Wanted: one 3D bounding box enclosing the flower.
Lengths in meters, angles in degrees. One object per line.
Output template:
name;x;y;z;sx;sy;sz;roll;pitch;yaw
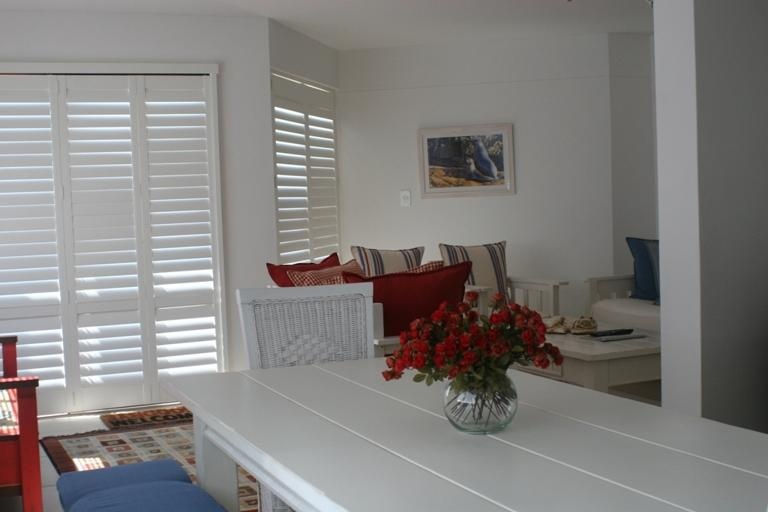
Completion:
flower;0.225;0.221;1.440;0.304;0.178;0.303;-4;-6;-16

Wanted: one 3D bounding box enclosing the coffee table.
coffee table;1.235;0.582;3.236;0.638;0.391;0.633;-1;0;-33

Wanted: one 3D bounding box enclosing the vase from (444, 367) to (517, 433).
vase;0.264;0.399;1.540;0.237;0.149;0.256;-10;-9;16

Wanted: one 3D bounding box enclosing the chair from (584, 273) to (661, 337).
chair;2.053;0.353;4.529;0.604;0.534;0.474;-2;-13;-19
